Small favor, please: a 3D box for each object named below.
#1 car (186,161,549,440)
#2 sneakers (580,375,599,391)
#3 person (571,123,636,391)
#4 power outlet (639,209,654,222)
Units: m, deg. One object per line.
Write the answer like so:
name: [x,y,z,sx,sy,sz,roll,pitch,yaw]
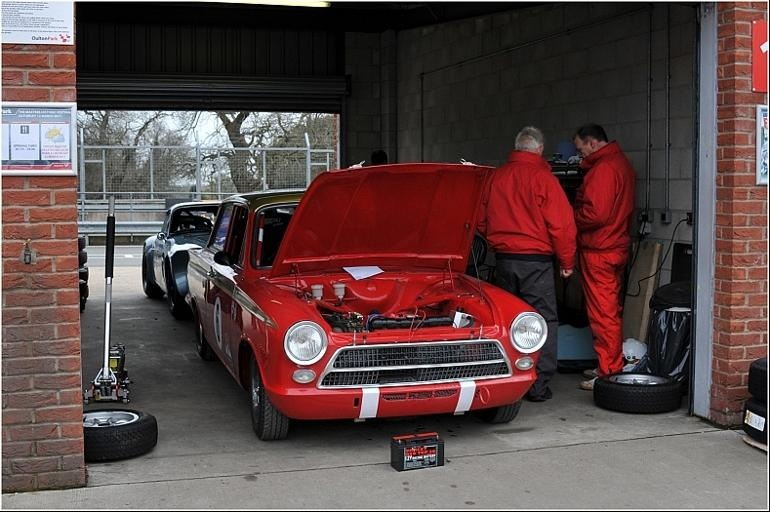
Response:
car: [-0.641,0.091,6.754,2.844,1.968,4.682,0,10,-22]
sneakers: [2.161,1.346,6.441,0.135,0.125,0.338,2,-1,29]
person: [2.338,-0.020,6.581,0.613,2.844,0.793,3,8,19]
power outlet: [3.130,-0.476,7.258,0.123,0.152,0.152,5,-5,-19]
